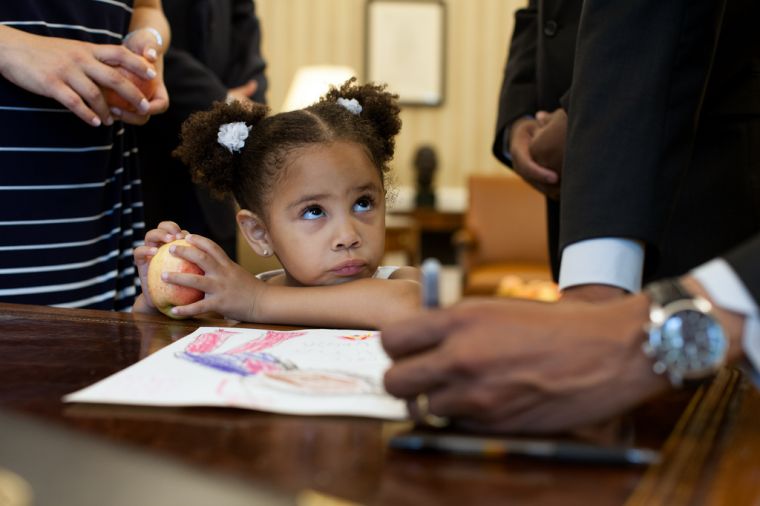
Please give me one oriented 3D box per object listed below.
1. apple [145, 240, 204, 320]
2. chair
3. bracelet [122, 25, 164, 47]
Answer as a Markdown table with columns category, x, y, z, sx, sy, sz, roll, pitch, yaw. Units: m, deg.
| category | x | y | z | sx | sy | sz | roll | pitch | yaw |
| --- | --- | --- | --- | --- | --- | --- | --- | --- | --- |
| apple | -0.397 | 0.065 | 1.299 | 0.130 | 0.151 | 0.126 | 16 | -16 | -28 |
| chair | 0.696 | -0.114 | 3.959 | 0.636 | 1.043 | 0.678 | 0 | -1 | 0 |
| bracelet | -0.555 | -0.518 | 1.520 | 0.083 | 0.070 | 0.034 | 3 | -7 | 1 |
